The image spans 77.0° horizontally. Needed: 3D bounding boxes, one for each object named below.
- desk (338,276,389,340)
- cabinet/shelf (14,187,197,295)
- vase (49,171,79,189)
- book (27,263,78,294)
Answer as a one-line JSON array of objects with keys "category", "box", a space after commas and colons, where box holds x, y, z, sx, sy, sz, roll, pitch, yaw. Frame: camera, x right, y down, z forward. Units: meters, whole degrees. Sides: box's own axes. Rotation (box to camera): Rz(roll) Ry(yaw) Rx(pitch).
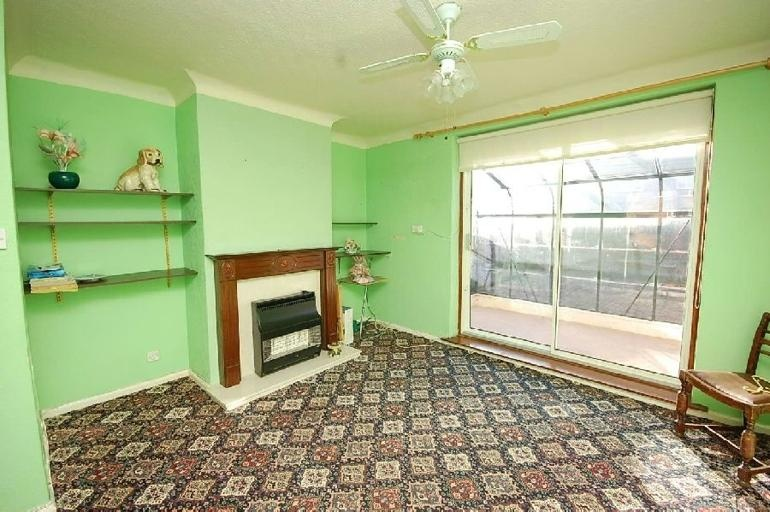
[{"category": "desk", "box": [-0.126, 0.670, 6.876, 0.838, 0.824, 0.815, -4, 6, -40]}, {"category": "cabinet/shelf", "box": [-2.894, -0.162, 4.911, 0.389, 0.809, 1.262, 8, 10, 43]}, {"category": "vase", "box": [-3.074, -0.719, 4.640, 0.225, 0.129, 0.208, 1, 1, -43]}, {"category": "book", "box": [-3.128, 0.230, 4.523, 0.372, 0.224, 0.342, -9, 16, -34]}]
